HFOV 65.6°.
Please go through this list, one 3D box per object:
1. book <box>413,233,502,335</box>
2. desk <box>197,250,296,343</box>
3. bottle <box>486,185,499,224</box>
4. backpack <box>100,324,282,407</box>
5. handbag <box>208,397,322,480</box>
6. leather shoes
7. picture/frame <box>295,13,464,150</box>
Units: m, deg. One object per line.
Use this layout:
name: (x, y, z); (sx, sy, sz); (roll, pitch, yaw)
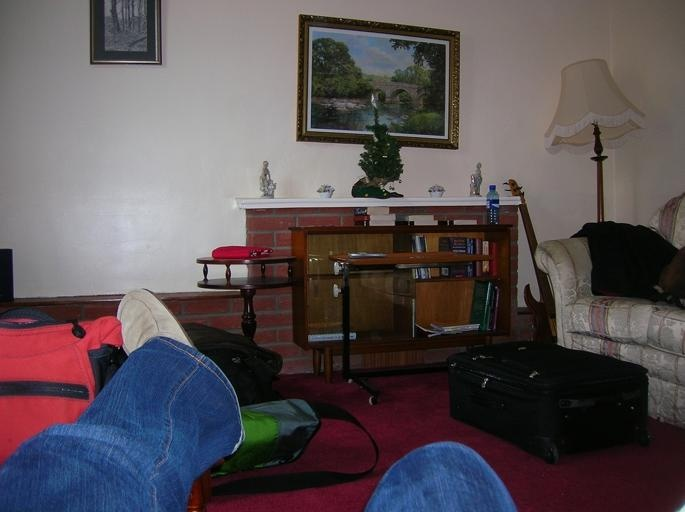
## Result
book: (0.768, 0.171, 3.555); (0.613, 0.640, 0.226); (0, -1, -13)
desk: (-0.582, 0.130, 3.242); (0.571, 0.656, 0.556); (-3, 6, -26)
bottle: (1.067, -0.374, 3.784); (0.094, 0.270, 0.258); (0, 7, 16)
backpack: (-0.632, 0.479, 2.726); (0.567, 0.204, 0.365); (8, 4, 38)
handbag: (-0.302, 0.794, 2.288); (0.505, 0.364, 0.162); (-8, -36, -20)
leather shoes: (-0.478, 0.146, 1.406); (0.108, 0.129, 0.324); (-34, -2, 8)
picture/frame: (0.212, -1.272, 3.840); (1.028, 0.773, 0.025); (1, 4, -15)
